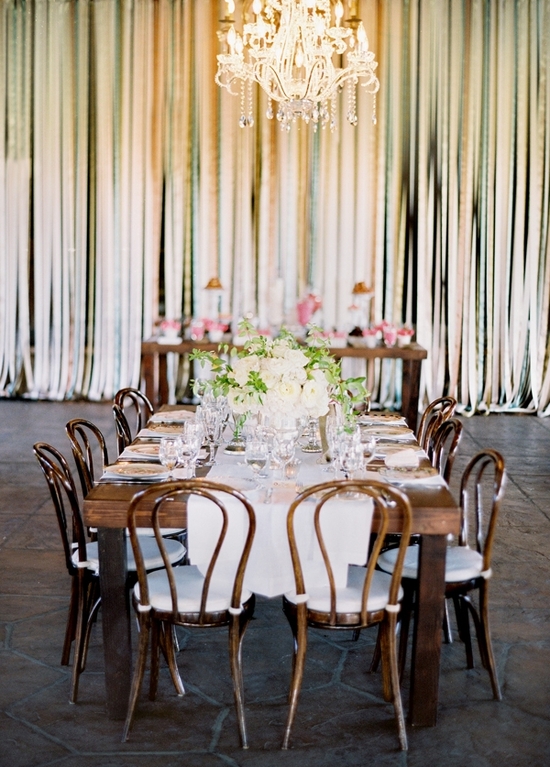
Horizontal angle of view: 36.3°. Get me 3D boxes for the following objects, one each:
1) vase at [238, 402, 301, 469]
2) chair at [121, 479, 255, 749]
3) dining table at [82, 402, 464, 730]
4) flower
[{"bbox_3d":[-0.006,0.223,2.604,0.116,0.134,0.123,-8,-35,34],"label":"vase"},{"bbox_3d":[-0.234,0.567,2.353,0.352,0.734,0.589,0,8,-2],"label":"chair"},{"bbox_3d":[0.044,0.492,2.462,0.703,0.604,0.753,0,6,6],"label":"dining table"},{"bbox_3d":[-0.013,-0.057,3.347,0.570,0.321,0.659,7,4,4],"label":"flower"}]
